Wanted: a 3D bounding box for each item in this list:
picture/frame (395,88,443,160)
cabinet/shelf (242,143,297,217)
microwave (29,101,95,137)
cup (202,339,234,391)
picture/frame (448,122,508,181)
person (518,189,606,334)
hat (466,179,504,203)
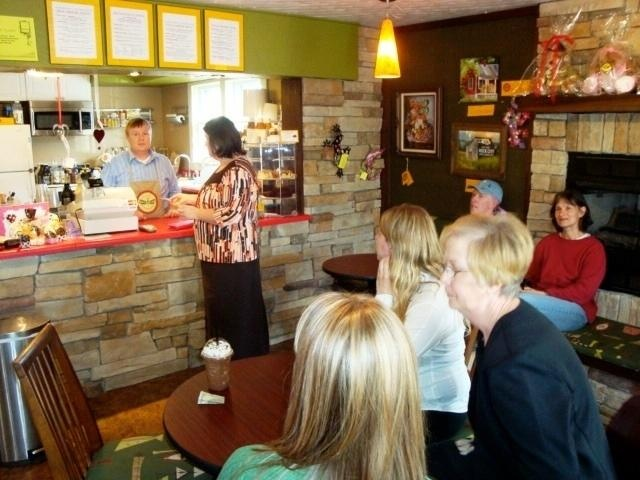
[{"bbox_3d":[1.023,-1.198,4.625,0.066,0.848,0.774,-9,12,-42],"label":"picture/frame"},{"bbox_3d":[-0.304,-0.563,4.354,0.413,0.695,0.385,4,17,36],"label":"cabinet/shelf"},{"bbox_3d":[-3.679,-1.705,6.314,0.444,0.442,0.932,18,21,20],"label":"microwave"},{"bbox_3d":[-0.400,0.568,2.008,0.148,0.187,0.144,3,-16,1],"label":"cup"},{"bbox_3d":[1.480,-0.819,4.205,0.045,0.506,0.567,-16,24,-37],"label":"picture/frame"},{"bbox_3d":[1.676,0.123,3.403,0.821,0.957,0.816,2,6,31],"label":"person"},{"bbox_3d":[1.462,-0.451,3.892,0.309,0.152,0.205,26,7,-15],"label":"hat"}]
